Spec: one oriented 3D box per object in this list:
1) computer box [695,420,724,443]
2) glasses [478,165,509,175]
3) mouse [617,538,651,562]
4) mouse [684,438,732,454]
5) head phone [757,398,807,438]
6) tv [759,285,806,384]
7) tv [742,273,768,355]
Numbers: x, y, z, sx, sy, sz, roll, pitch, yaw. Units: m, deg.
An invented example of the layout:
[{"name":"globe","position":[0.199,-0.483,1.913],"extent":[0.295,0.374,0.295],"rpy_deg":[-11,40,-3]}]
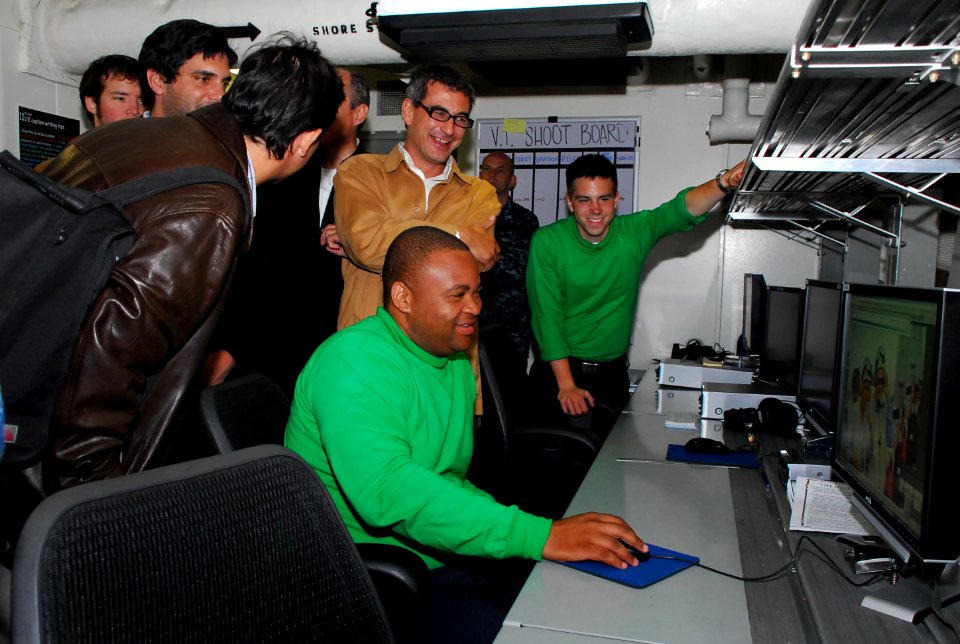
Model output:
[{"name":"computer box","position":[0.961,0.452,2.393],"extent":[0.093,0.079,0.078],"rpy_deg":[0,6,-4]},{"name":"glasses","position":[0.110,-1.085,4.097],"extent":[0.140,0.070,0.186],"rpy_deg":[2,3,8]},{"name":"mouse","position":[0.372,0.553,1.395],"extent":[0.074,0.019,0.040],"rpy_deg":[31,11,10]},{"name":"mouse","position":[0.832,0.445,2.108],"extent":[0.125,0.038,0.067],"rpy_deg":[-1,2,8]},{"name":"head phone","position":[1.172,0.374,2.251],"extent":[0.125,0.156,0.065],"rpy_deg":[5,12,36]},{"name":"tv","position":[1.518,0.028,2.942],"extent":[0.277,0.419,0.119],"rpy_deg":[7,-2,-23]},{"name":"tv","position":[1.664,-0.041,3.474],"extent":[0.135,0.394,0.395],"rpy_deg":[-5,35,18]}]
